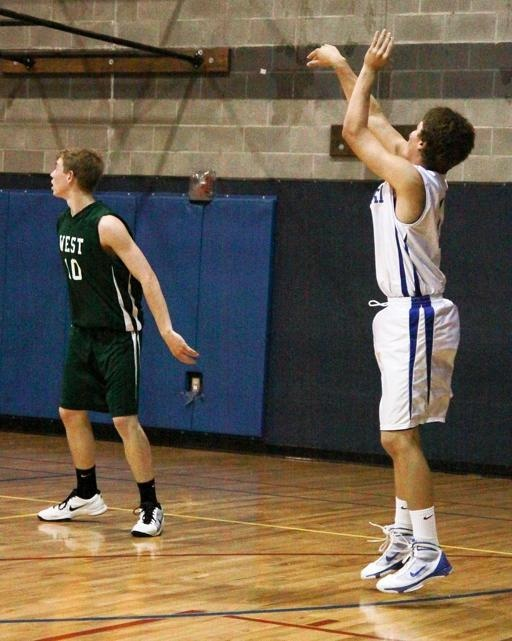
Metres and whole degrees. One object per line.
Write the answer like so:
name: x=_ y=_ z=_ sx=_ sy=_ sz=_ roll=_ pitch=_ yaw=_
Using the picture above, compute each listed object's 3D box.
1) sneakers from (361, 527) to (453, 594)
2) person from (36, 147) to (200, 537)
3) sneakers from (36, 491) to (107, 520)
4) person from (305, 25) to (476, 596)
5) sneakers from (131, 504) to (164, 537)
sneakers: x=0.458 y=0.733 z=3.128 sx=0.205 sy=0.128 sz=0.205 roll=-20 pitch=2 yaw=-13
person: x=-0.578 y=0.096 z=4.064 sx=0.389 sy=1.548 sz=0.789 roll=-10 pitch=9 yaw=-42
sneakers: x=-0.751 y=0.778 z=4.345 sx=0.305 sy=0.141 sz=0.104 roll=-2 pitch=-4 yaw=-17
person: x=0.469 y=-0.024 z=3.240 sx=0.466 sy=1.767 sz=0.572 roll=-4 pitch=7 yaw=0
sneakers: x=-0.418 y=0.791 z=4.043 sx=0.114 sy=0.121 sz=0.225 roll=-4 pitch=8 yaw=-2
